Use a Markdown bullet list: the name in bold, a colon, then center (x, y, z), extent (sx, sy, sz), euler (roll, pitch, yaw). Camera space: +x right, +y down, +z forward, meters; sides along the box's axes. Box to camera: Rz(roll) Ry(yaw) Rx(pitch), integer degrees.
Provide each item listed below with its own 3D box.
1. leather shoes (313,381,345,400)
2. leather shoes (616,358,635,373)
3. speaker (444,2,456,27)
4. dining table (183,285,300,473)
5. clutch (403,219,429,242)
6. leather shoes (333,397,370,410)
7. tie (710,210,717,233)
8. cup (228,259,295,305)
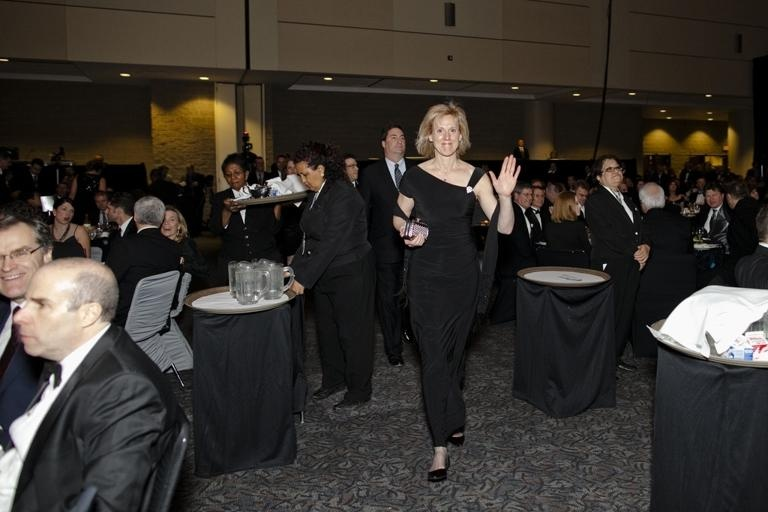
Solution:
- **leather shoes**: center (-0.428, 1.037, 4.167), extent (0.230, 0.080, 0.086), euler (-2, -3, -37)
- **leather shoes**: center (2.049, 0.926, 4.585), extent (0.073, 0.101, 0.227), euler (-5, 1, -23)
- **speaker**: center (1.392, -5.069, 11.329), extent (0.268, 0.486, 0.083), euler (-6, 12, -26)
- **dining table**: center (-0.852, 0.699, 3.372), extent (0.691, 1.083, 0.678), euler (2, 16, 3)
- **clutch**: center (0.191, -0.158, 3.141), extent (0.164, 0.099, 0.127), euler (11, 26, 30)
- **leather shoes**: center (-0.247, 1.074, 3.997), extent (0.236, 0.104, 0.093), euler (4, -2, -18)
- **tie**: center (4.144, -0.426, 6.750), extent (0.069, 0.236, 0.062), euler (13, -18, -5)
- **cup**: center (-0.742, 0.155, 3.277), extent (0.344, 0.256, 0.217), euler (2, 7, -1)
